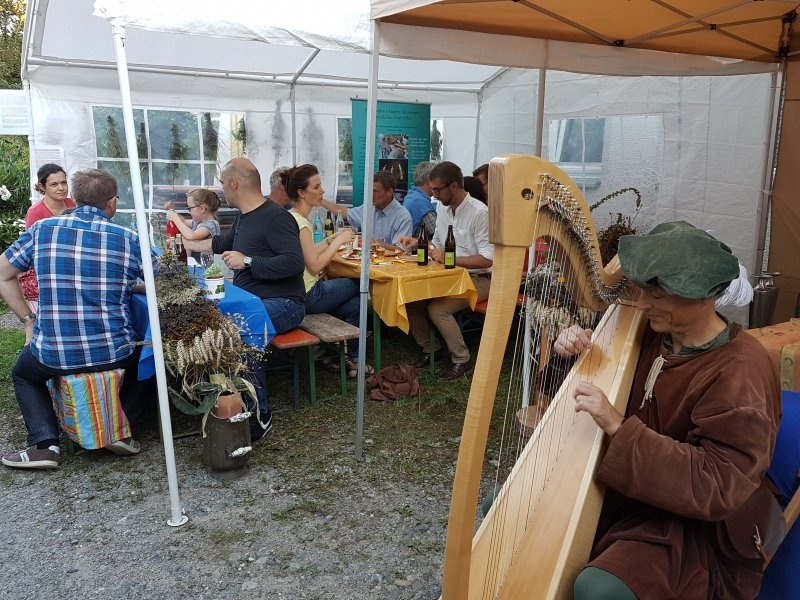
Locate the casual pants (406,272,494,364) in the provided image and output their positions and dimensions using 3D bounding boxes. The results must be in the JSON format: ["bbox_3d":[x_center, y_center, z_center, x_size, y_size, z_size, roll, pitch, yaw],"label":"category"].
[{"bbox_3d":[0.438,0.133,5.542,0.818,0.973,0.896,-1,-6,26],"label":"casual pants"}]

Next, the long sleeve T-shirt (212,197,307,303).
[{"bbox_3d":[-1.031,-0.412,4.757,0.704,0.843,0.879,-9,12,-33],"label":"long sleeve T-shirt"}]

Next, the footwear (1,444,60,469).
[{"bbox_3d":[-2.443,1.010,3.794,0.403,0.169,0.148,4,-5,-3],"label":"footwear"}]

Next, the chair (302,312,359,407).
[{"bbox_3d":[-0.629,0.438,4.929,0.275,0.483,1.007,-6,10,-24],"label":"chair"}]

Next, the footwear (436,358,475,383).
[{"bbox_3d":[0.505,0.646,5.266,0.367,0.157,0.134,-11,2,-38],"label":"footwear"}]

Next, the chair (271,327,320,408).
[{"bbox_3d":[-0.862,0.572,4.787,0.189,0.336,0.581,-7,18,-23],"label":"chair"}]

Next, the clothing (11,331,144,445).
[{"bbox_3d":[-2.166,0.616,4.035,0.764,0.714,0.793,-17,14,-18],"label":"clothing"}]

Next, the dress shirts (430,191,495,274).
[{"bbox_3d":[0.613,-0.669,5.659,0.487,0.689,0.779,-15,19,-39],"label":"dress shirts"}]

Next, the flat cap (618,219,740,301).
[{"bbox_3d":[0.967,-0.131,2.021,0.321,0.113,0.296,6,39,14],"label":"flat cap"}]

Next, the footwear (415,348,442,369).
[{"bbox_3d":[0.316,0.558,5.504,0.332,0.140,0.120,-5,3,-35],"label":"footwear"}]
